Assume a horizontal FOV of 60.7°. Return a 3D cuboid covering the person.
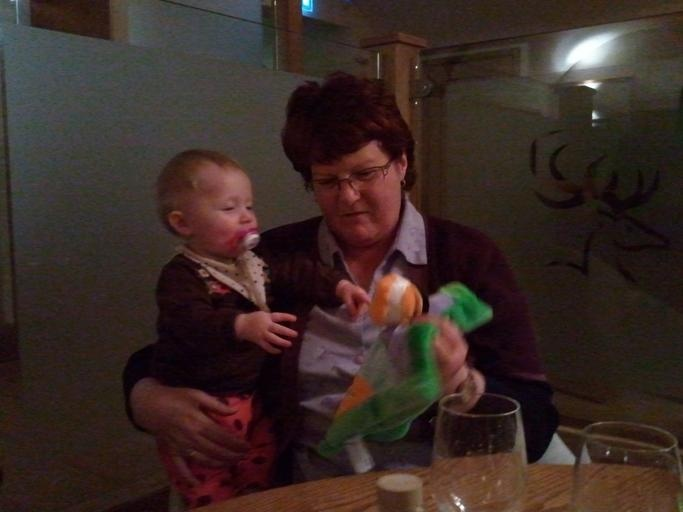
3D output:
[{"bbox_3d":[0.019,0.075,1.587,1.154,1.115,0.353,-4,14,-3],"label":"person"}]
